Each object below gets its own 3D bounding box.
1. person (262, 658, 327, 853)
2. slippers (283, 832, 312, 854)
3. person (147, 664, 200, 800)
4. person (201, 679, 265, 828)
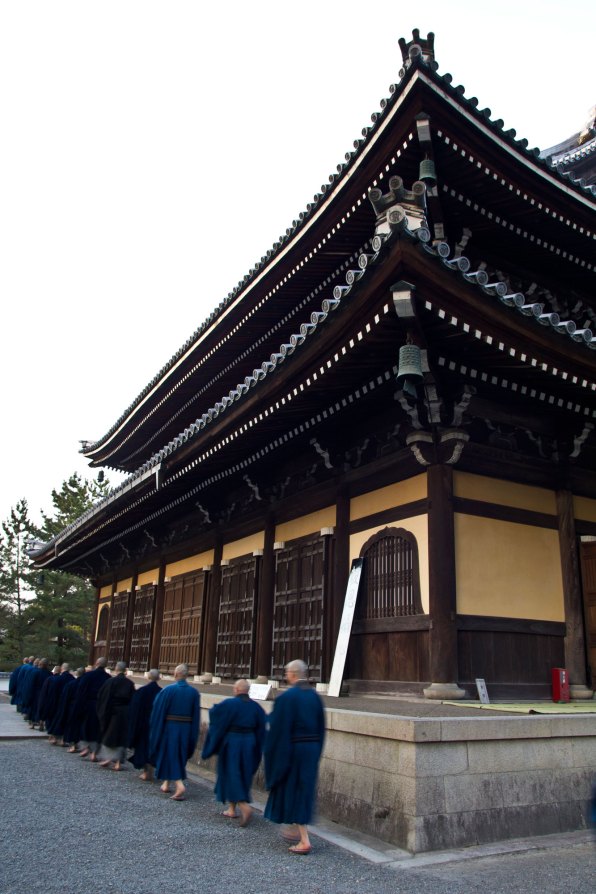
[{"bbox_3d":[-0.028,2.165,4.699,0.400,1.232,0.292,4,-21,1],"label":"person"},{"bbox_3d":[-0.003,2.717,4.574,0.099,0.145,0.334,5,-21,-16],"label":"slippers"},{"bbox_3d":[-1.287,2.893,6.912,0.444,1.320,0.434,4,3,-18],"label":"person"},{"bbox_3d":[-0.553,2.581,5.662,0.527,1.087,0.520,2,-22,7],"label":"person"}]
